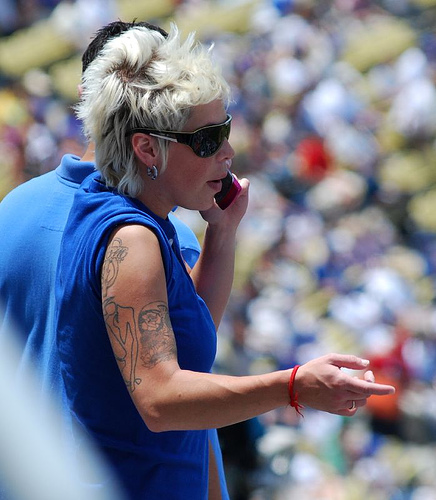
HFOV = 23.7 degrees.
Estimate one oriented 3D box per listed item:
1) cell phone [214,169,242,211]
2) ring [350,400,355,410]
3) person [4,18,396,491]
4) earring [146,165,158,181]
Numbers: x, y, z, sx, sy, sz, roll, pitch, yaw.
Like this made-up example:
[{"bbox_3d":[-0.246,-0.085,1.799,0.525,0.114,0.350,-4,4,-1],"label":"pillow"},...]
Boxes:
[{"bbox_3d":[0.040,-0.212,3.762,0.051,0.138,0.102,17,68,36],"label":"cell phone"},{"bbox_3d":[0.384,0.438,2.913,0.005,0.020,0.019,12,75,-1],"label":"ring"},{"bbox_3d":[-0.307,0.123,3.146,1.041,0.938,1.144,-17,55,-6],"label":"person"},{"bbox_3d":[-0.195,-0.234,3.135,0.034,0.042,0.032,-6,55,2],"label":"earring"}]
